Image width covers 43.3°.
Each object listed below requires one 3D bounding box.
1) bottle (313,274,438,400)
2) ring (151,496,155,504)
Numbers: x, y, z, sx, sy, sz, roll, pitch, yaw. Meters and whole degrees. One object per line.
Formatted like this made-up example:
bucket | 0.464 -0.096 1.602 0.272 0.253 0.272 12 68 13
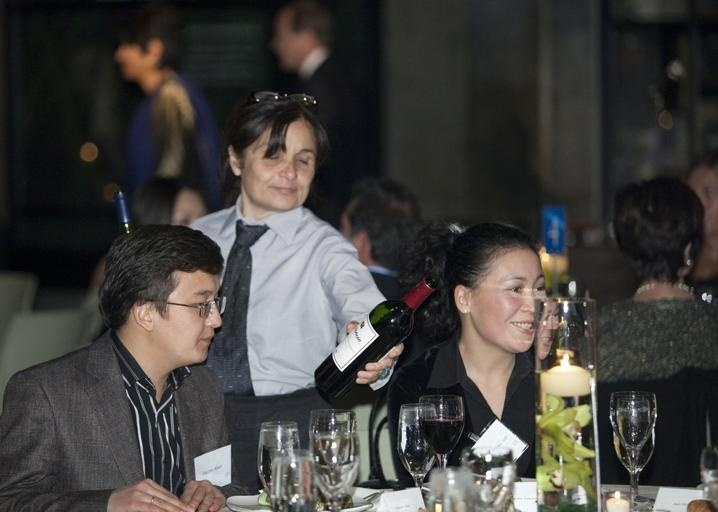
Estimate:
bottle | 0.053 0.261 3.110 0.141 0.135 0.549 13 -52 -48
ring | -0.640 0.766 2.837 0.013 0.020 0.012 -1 -5 -5
